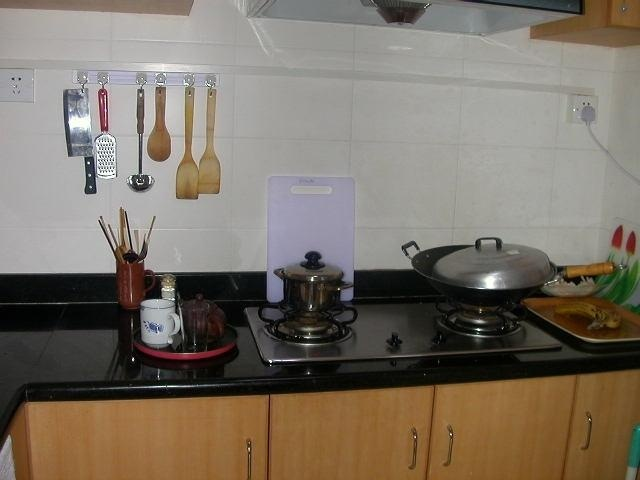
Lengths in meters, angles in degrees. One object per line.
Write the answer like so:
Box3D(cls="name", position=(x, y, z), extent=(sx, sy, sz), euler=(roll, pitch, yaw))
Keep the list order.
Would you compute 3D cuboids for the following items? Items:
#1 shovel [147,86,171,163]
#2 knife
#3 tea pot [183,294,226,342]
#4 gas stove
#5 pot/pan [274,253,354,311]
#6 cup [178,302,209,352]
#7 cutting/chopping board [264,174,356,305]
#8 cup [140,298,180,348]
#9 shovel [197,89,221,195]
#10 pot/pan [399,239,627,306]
Box3D(cls="shovel", position=(-0.584, -0.431, 2.012), extent=(0.078, 0.262, 0.069), euler=(-10, 22, -38))
Box3D(cls="knife", position=(-0.870, -0.366, 1.990), extent=(0.095, 0.377, 0.053), euler=(-5, 16, -9))
Box3D(cls="tea pot", position=(-0.373, 0.256, 1.745), extent=(0.136, 0.149, 0.231), euler=(3, 16, -6))
Box3D(cls="gas stove", position=(0.266, 0.308, 1.927), extent=(1.049, 0.081, 0.445), euler=(-5, 18, -8))
Box3D(cls="pot/pan", position=(-0.049, 0.112, 1.945), extent=(0.277, 0.196, 0.305), euler=(-2, 18, -16))
Box3D(cls="cup", position=(-0.393, 0.263, 1.743), extent=(0.123, 0.138, 0.114), euler=(3, 16, -1))
Box3D(cls="cutting/chopping board", position=(-0.057, -0.020, 2.067), extent=(0.495, 0.719, 0.017), euler=(-1, 10, -9))
Box3D(cls="cup", position=(-0.522, 0.261, 1.776), extent=(0.123, 0.133, 0.174), euler=(-8, 18, -20))
Box3D(cls="shovel", position=(-0.418, -0.372, 2.039), extent=(0.083, 0.378, 0.091), euler=(0, 17, -12))
Box3D(cls="pot/pan", position=(0.650, 0.097, 1.908), extent=(0.538, 0.169, 0.337), euler=(-1, 13, 4))
